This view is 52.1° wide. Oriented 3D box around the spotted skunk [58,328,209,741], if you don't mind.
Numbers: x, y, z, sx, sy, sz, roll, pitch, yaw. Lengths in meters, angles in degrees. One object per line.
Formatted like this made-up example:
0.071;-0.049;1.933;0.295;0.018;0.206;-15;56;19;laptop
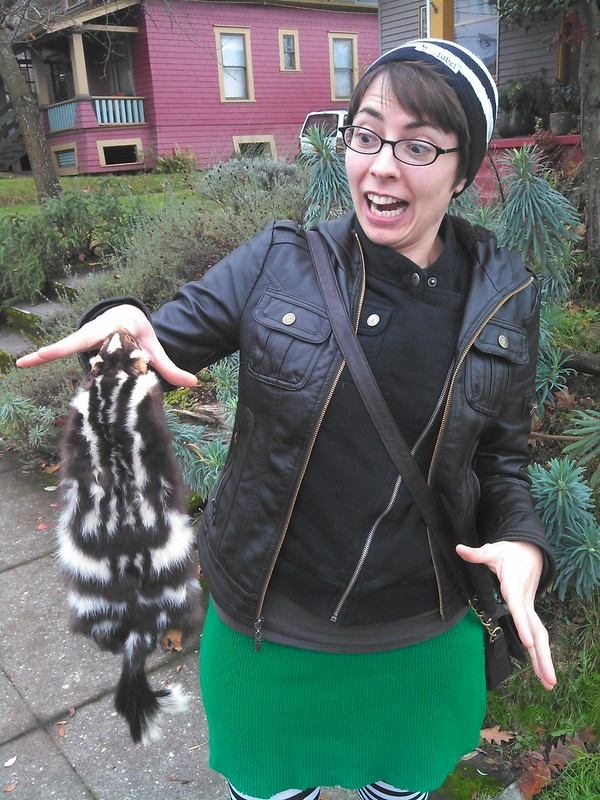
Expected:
-0.261;0.237;1.226;0.275;0.750;0.315;0;5;-4;spotted skunk

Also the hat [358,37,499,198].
0.285;-0.555;1.227;0.222;0.266;0.140;6;15;8;hat

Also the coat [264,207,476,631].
0.130;0.066;1.357;0.415;0.727;0.176;16;-5;-8;coat

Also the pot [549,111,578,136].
4.045;-4.390;9.692;0.475;0.345;0.450;-1;28;1;pot
